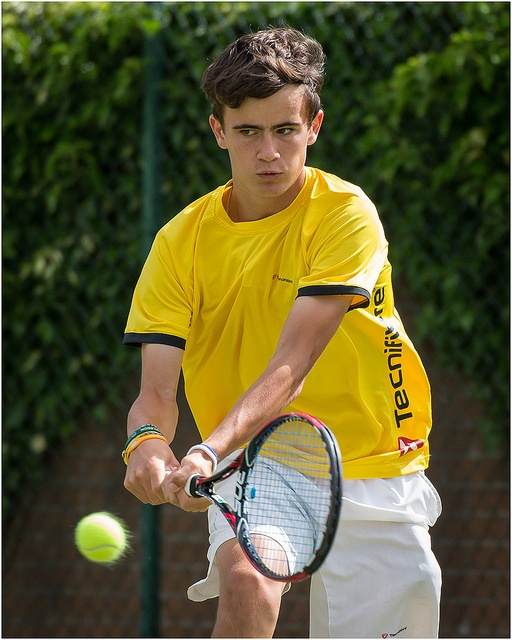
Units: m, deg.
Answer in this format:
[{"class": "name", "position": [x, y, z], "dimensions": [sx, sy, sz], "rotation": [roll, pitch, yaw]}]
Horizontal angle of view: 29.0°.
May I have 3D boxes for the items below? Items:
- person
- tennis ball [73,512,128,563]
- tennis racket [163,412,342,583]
[{"class": "person", "position": [0.051, 0.055, 2.744], "dimensions": [0.665, 1.756, 0.909], "rotation": [0, 1, 13]}, {"class": "tennis ball", "position": [-0.441, 0.592, 2.795], "dimensions": [0.135, 0.144, 0.148], "rotation": [6, 6, -1]}, {"class": "tennis racket", "position": [0.104, 0.376, 2.442], "dimensions": [0.422, 0.421, 0.523], "rotation": [0, 14, 27]}]
